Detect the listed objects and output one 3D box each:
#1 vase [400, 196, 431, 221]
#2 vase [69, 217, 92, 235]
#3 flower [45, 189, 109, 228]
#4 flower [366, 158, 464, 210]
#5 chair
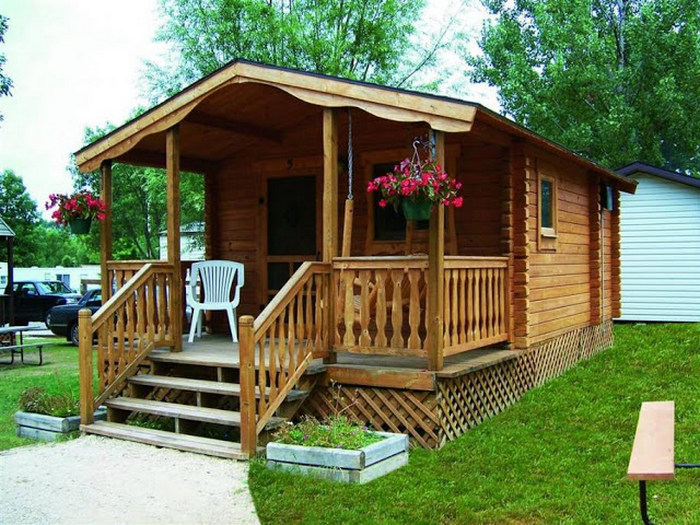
[{"bbox_3d":[0.756,-0.606,7.138,0.332,0.260,0.239,6,9,35],"label":"vase"},{"bbox_3d":[-4.126,-0.556,9.745,0.252,0.186,0.266,0,1,3],"label":"vase"},{"bbox_3d":[-4.226,-0.826,9.734,0.834,0.564,0.660,-3,8,-27],"label":"flower"},{"bbox_3d":[0.867,-0.859,7.364,0.877,0.636,0.871,0,1,29],"label":"flower"},{"bbox_3d":[-2.037,0.570,9.610,0.783,1.144,0.787,0,0,-7],"label":"chair"}]
